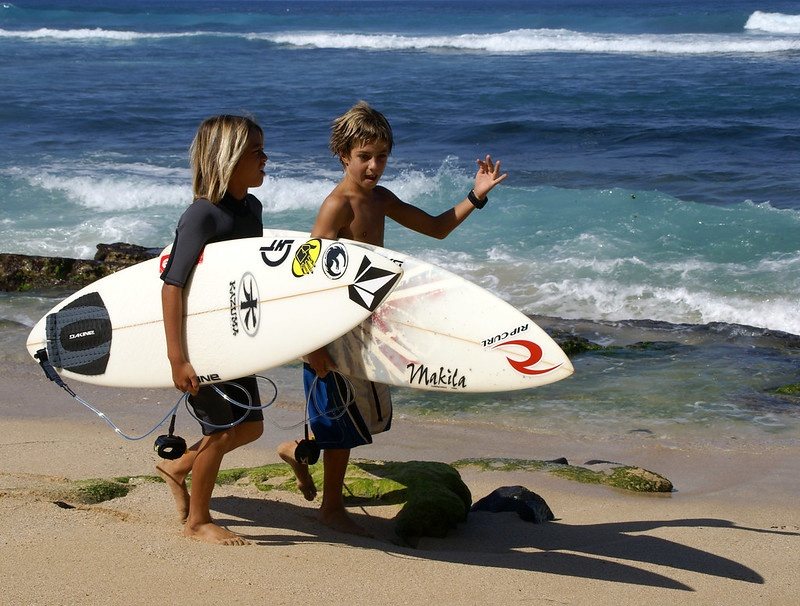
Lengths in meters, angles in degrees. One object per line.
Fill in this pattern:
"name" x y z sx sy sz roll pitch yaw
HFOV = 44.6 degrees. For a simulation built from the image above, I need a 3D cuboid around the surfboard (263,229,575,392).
"surfboard" -0.085 0.083 7.638 0.484 0.986 4.233 7 6 -32
